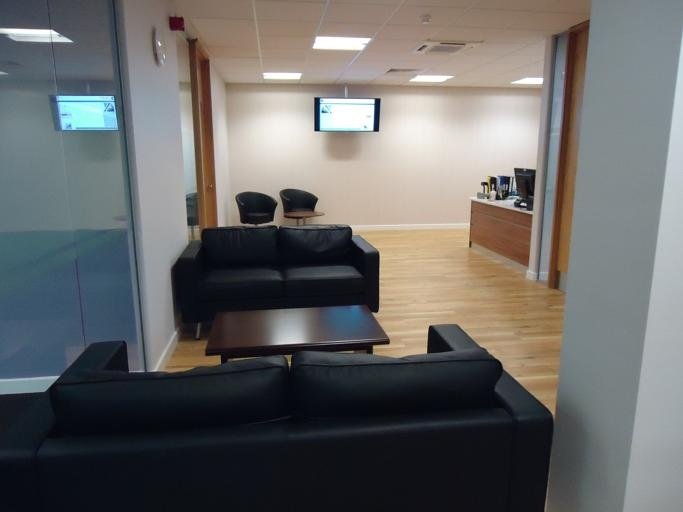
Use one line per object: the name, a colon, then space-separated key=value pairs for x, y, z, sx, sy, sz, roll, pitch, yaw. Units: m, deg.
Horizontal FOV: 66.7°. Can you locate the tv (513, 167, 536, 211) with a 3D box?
tv: x=2.274 y=-0.839 z=6.472 sx=0.211 sy=0.551 sz=0.871 roll=0 pitch=5 yaw=16

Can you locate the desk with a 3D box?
desk: x=2.104 y=-0.319 z=6.832 sx=0.301 sy=0.450 sz=0.952 roll=-6 pitch=16 yaw=-16

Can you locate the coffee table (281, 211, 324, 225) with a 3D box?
coffee table: x=-0.665 y=-0.660 z=8.556 sx=0.419 sy=0.257 sz=0.424 roll=8 pitch=13 yaw=40

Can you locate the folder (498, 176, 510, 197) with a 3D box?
folder: x=2.338 y=-0.976 z=7.413 sx=0.279 sy=0.318 sz=0.116 roll=-5 pitch=6 yaw=-39
